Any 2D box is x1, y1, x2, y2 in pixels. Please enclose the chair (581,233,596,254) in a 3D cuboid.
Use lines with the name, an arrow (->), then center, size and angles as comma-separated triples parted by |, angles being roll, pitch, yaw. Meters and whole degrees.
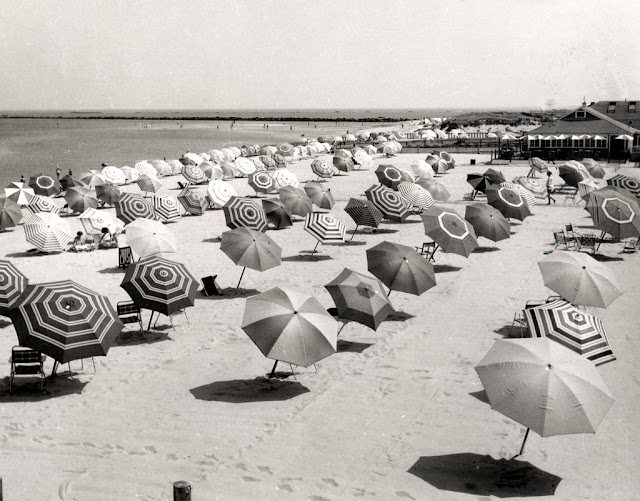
chair -> 9.229, -0.195, 22.596 | 0.483, 0.715, 0.527 | 3, 26, 14

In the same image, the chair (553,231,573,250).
chair -> 8.633, -0.316, 23.281 | 0.652, 0.982, 0.788 | -1, 11, 20

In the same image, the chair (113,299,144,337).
chair -> -4.552, 1.546, 15.728 | 0.782, 1.101, 0.736 | -2, 18, -18

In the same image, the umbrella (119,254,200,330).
umbrella -> -3.755, 1.004, 15.290 | 1.430, 1.449, 1.474 | 17, 46, -18

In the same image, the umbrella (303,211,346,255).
umbrella -> 0.041, -0.556, 21.501 | 1.065, 1.064, 1.284 | 18, 39, -22

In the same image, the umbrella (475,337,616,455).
umbrella -> 3.425, 2.390, 10.614 | 1.616, 1.467, 1.722 | 9, 41, -5

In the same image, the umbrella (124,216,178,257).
umbrella -> -4.796, -0.310, 18.692 | 1.241, 1.095, 1.271 | -5, 7, -38

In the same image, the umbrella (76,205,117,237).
umbrella -> -8.184, -1.056, 24.343 | 1.280, 0.896, 1.385 | -2, 6, -10

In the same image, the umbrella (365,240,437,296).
umbrella -> 1.990, 0.370, 16.352 | 1.383, 0.970, 1.453 | 9, 48, -18

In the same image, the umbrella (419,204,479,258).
umbrella -> 3.895, -0.676, 19.827 | 1.456, 0.639, 1.532 | 11, 50, -28

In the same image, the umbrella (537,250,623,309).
umbrella -> 5.971, 0.647, 15.246 | 1.435, 0.537, 1.471 | 34, 53, 23

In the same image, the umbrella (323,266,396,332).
umbrella -> 0.810, 1.255, 14.931 | 1.307, 1.412, 1.276 | 3, -29, -20

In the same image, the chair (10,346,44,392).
chair -> -5.701, 2.357, 12.843 | 0.549, 0.813, 0.703 | 4, 40, -20

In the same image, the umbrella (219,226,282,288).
umbrella -> -1.892, 0.151, 17.490 | 1.221, 1.291, 1.282 | 25, 37, -4

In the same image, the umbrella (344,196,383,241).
umbrella -> 1.679, -1.185, 25.211 | 1.245, 1.600, 2.075 | -1, 6, 2

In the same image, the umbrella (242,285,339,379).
umbrella -> -0.541, 1.403, 12.601 | 1.498, 1.595, 1.601 | 14, 44, -13

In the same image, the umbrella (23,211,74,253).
umbrella -> -9.559, -0.607, 23.185 | 1.442, 1.291, 1.111 | -3, 6, -24

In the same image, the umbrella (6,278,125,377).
umbrella -> -5.132, 1.685, 13.104 | 1.705, 1.463, 1.814 | 22, 44, -21
